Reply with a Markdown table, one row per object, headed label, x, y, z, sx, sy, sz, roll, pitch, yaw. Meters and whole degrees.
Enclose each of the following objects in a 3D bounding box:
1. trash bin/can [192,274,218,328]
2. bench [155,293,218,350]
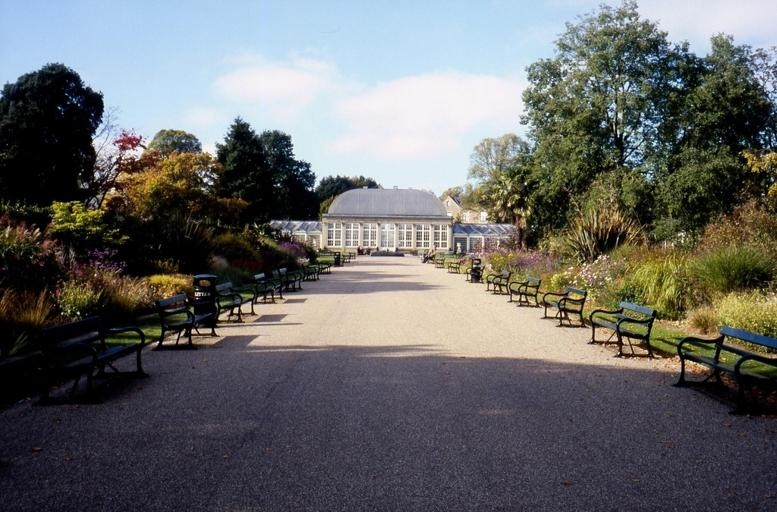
| label | x | y | z | sx | sy | sz | roll | pitch | yaw |
| --- | --- | --- | --- | --- | --- | --- | --- | --- | --- |
| trash bin/can | -4.335 | 1.056 | 14.662 | 0.692 | 1.280 | 0.738 | -12 | -11 | -1 |
| bench | -4.549 | 1.444 | 13.452 | 0.859 | 1.047 | 2.270 | -1 | 0 | -4 |
